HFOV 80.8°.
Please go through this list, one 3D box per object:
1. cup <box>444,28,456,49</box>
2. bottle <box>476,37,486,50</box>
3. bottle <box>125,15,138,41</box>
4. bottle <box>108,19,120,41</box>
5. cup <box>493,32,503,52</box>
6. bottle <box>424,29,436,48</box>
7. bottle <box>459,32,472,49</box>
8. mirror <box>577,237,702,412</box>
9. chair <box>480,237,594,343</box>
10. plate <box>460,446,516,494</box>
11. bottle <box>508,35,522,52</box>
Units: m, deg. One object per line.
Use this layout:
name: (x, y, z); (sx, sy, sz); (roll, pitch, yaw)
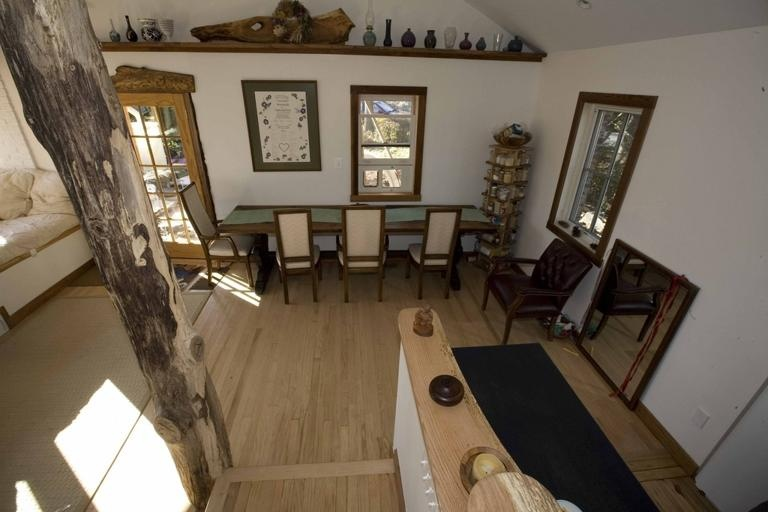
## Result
cup: (0.761, -2.512, 5.209); (0.137, 0.213, 0.140); (-1, 52, 1)
bottle: (1.138, -2.478, 5.295); (0.117, 0.144, 0.143); (6, 23, 8)
bottle: (-2.851, -2.538, 5.049); (0.119, 0.273, 0.270); (-9, 26, -24)
bottle: (-3.032, -2.506, 5.050); (0.116, 0.246, 0.293); (-11, 26, -26)
cup: (1.354, -2.528, 5.345); (0.103, 0.191, 0.177); (7, 24, 12)
bottle: (0.543, -2.501, 5.233); (0.143, 0.210, 0.235); (4, 23, 4)
bottle: (0.960, -2.505, 5.280); (0.147, 0.196, 0.240); (6, 23, 9)
mirror: (2.318, 0.632, 4.024); (0.056, 1.430, 0.986); (2, 33, -19)
chair: (1.574, 0.363, 4.829); (0.914, 0.972, 0.771); (3, 29, 0)
plate: (0.552, 1.194, 2.522); (0.218, 0.067, 0.213); (-13, 32, -19)
bottle: (1.545, -2.483, 5.307); (0.155, 0.176, 0.143); (12, 25, 23)
